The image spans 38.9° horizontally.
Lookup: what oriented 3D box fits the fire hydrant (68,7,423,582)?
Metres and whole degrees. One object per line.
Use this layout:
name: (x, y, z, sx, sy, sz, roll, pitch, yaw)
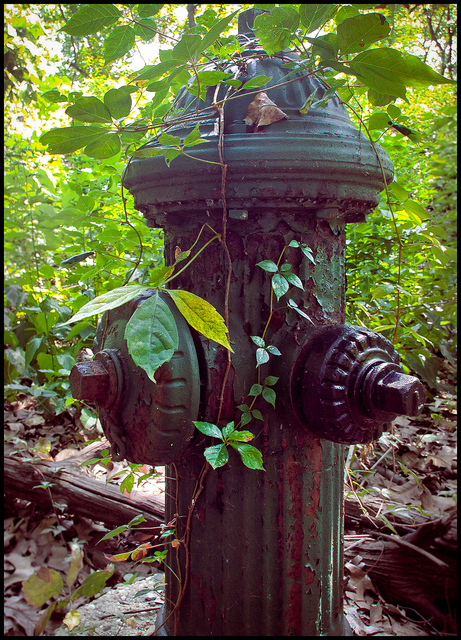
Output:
fire hydrant: (0.019, -0.069, 1.421, 0.695, 1.396, 0.431, 2, -1, -10)
